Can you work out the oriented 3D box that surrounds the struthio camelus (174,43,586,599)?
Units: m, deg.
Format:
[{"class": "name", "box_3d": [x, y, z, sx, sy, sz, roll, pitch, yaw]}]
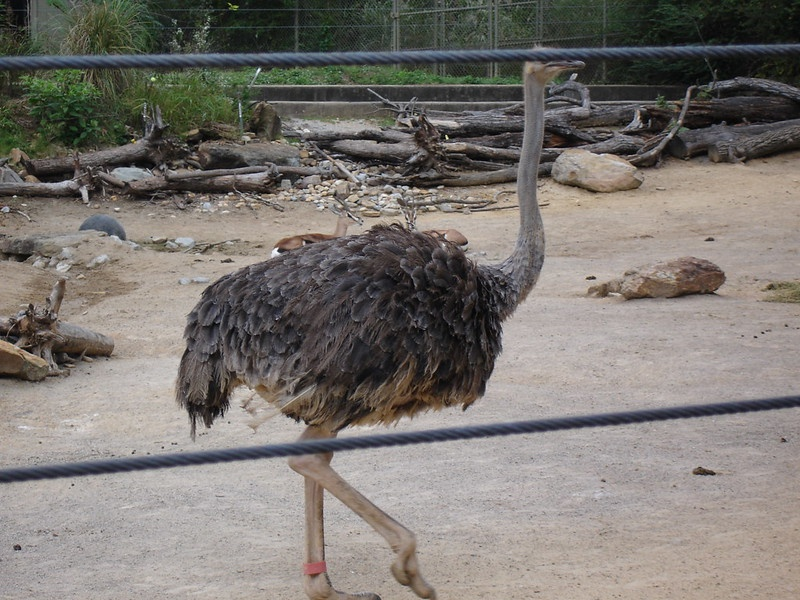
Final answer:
[{"class": "struthio camelus", "box_3d": [1.350, 0.166, 8.668, 5.794, 3.930, 2.098, -1, 1, -3]}]
